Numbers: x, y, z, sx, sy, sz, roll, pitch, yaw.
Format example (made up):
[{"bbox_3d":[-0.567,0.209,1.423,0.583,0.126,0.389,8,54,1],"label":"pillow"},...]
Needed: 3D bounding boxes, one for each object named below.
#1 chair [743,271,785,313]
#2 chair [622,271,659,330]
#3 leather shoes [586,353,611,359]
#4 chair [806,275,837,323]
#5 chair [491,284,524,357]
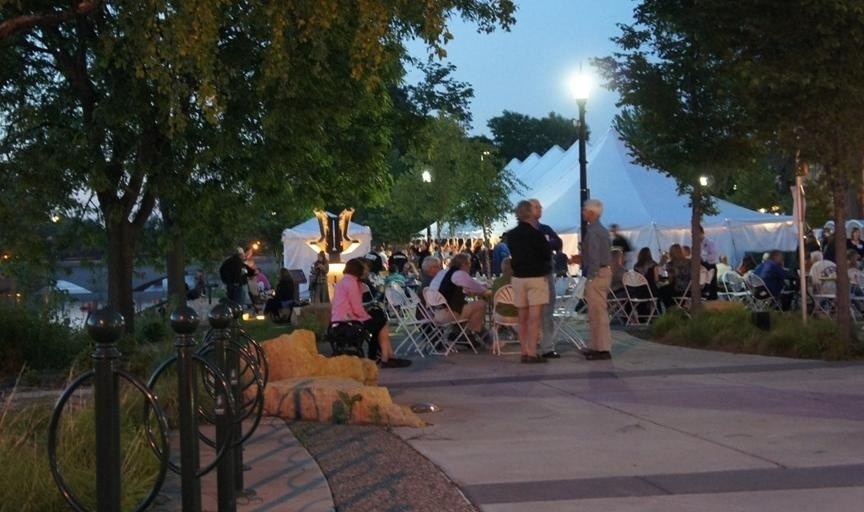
[{"bbox_3d":[8.009,0.840,21.883,0.911,1.383,0.798,-5,2,-11],"label":"chair"},{"bbox_3d":[4.885,0.959,21.226,0.714,1.278,0.905,-5,0,-4],"label":"chair"},{"bbox_3d":[3.142,1.866,17.202,0.286,0.124,0.189,-3,-2,-4],"label":"leather shoes"},{"bbox_3d":[8.693,0.917,20.307,0.782,1.075,0.771,0,-9,7],"label":"chair"},{"bbox_3d":[1.566,1.184,18.415,0.857,1.339,0.980,1,9,22],"label":"chair"}]
